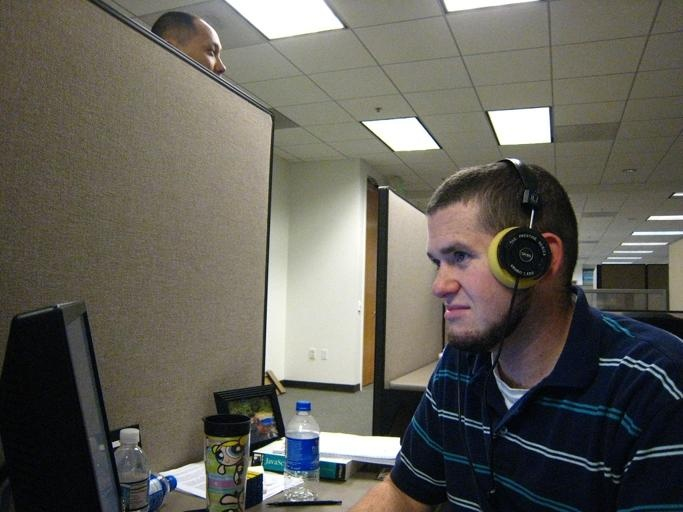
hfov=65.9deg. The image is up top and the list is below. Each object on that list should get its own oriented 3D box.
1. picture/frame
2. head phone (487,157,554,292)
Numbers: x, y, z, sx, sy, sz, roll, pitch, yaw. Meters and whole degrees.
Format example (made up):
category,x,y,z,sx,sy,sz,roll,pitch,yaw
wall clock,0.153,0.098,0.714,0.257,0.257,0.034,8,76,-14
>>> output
category,x,y,z,sx,sy,sz,roll,pitch,yaw
picture/frame,-0.236,0.428,1.379,0.011,0.146,0.197,-28,-23,35
head phone,0.340,-0.051,1.009,0.070,0.203,0.188,3,-22,2
